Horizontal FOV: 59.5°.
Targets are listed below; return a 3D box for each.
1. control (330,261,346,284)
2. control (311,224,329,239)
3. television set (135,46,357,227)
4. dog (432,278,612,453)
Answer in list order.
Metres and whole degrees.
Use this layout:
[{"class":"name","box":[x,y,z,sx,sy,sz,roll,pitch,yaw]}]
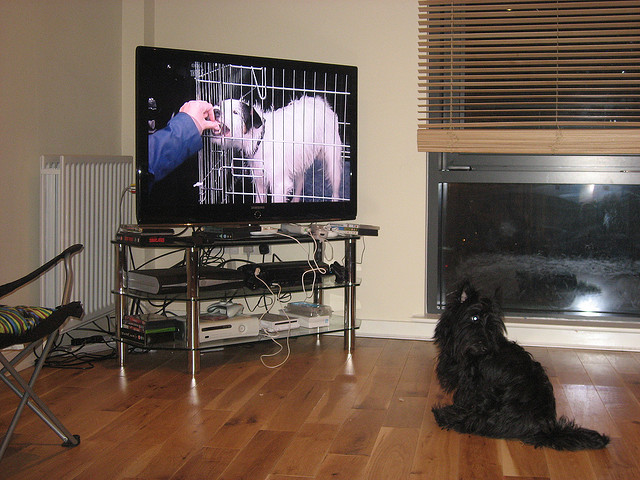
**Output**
[{"class":"control","box":[0.131,0.225,3.714,0.126,0.131,0.110,-2,6,2]},{"class":"control","box":[0.004,-0.059,3.593,0.093,0.032,0.090,-2,14,-35]},{"class":"television set","box":[-0.409,-0.614,3.446,1.381,1.024,0.117,-3,9,-23]},{"class":"dog","box":[0.919,0.584,2.591,0.760,0.653,0.521,9,-1,37]}]
